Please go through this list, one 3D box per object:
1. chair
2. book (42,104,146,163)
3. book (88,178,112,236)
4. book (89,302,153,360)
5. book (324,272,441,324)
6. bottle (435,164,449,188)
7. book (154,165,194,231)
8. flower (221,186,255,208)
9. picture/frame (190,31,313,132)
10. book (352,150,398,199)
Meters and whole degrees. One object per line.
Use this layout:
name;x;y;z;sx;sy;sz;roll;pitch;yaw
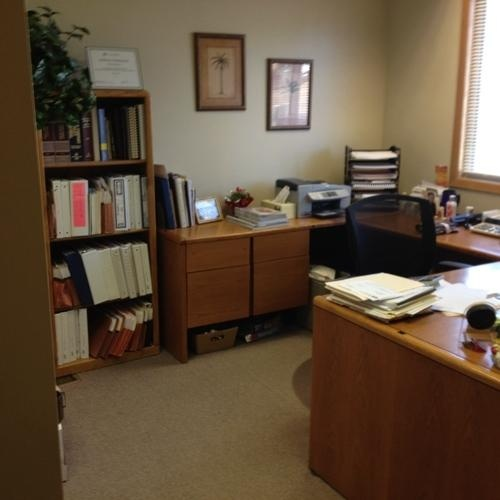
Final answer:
chair;0.896;-0.096;2.630;0.689;0.752;0.450;-7;11;-30
book;-0.948;-0.726;2.779;0.607;0.338;0.133;-8;15;-27
book;-0.943;-0.283;2.880;0.140;0.343;0.145;-3;14;-12
book;-0.855;0.551;3.028;0.280;0.425;0.138;-1;-8;10
book;0.482;0.168;1.729;0.234;0.063;0.235;-11;19;-38
bottle;1.567;-0.613;3.688;0.112;0.166;0.204;6;16;23
book;-0.528;-0.425;3.342;0.309;0.608;0.579;-3;14;-17
flower;-0.077;-0.396;3.528;0.167;0.171;0.188;-1;18;-3
picture/frame;0.050;-1.302;3.525;1.027;0.695;0.035;-7;15;-26
book;1.037;-0.649;3.805;0.450;0.401;0.214;-9;16;-31
